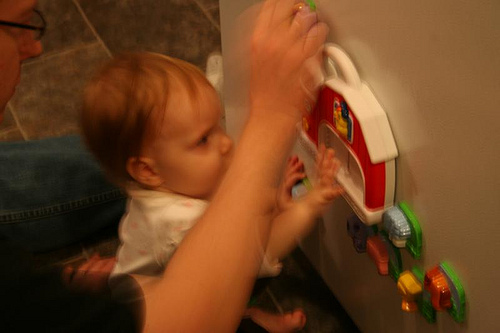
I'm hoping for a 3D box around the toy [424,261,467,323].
[{"bbox_3d":[0.285,0.185,0.651,0.050,0.087,0.073,1,36,13],"label":"toy"}]

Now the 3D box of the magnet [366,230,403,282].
[{"bbox_3d":[0.223,0.147,0.715,0.053,0.092,0.021,11,37,43],"label":"magnet"}]

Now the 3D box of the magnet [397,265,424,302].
[{"bbox_3d":[0.262,0.195,0.696,0.030,0.048,0.049,-15,49,-9],"label":"magnet"}]

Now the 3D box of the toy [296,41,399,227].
[{"bbox_3d":[0.154,-0.071,0.698,0.054,0.234,0.260,-16,39,-10],"label":"toy"}]

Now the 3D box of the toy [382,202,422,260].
[{"bbox_3d":[0.236,0.095,0.652,0.034,0.066,0.067,-21,51,-6],"label":"toy"}]

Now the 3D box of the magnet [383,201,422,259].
[{"bbox_3d":[0.235,0.101,0.665,0.037,0.070,0.071,-16,42,-3],"label":"magnet"}]
